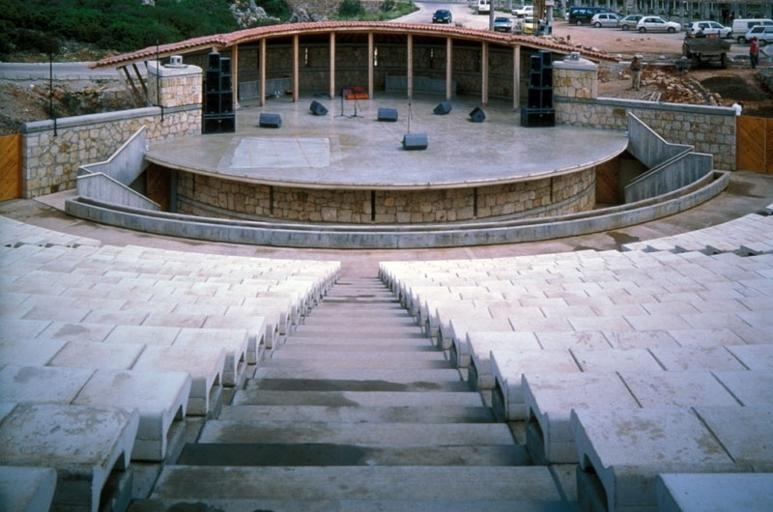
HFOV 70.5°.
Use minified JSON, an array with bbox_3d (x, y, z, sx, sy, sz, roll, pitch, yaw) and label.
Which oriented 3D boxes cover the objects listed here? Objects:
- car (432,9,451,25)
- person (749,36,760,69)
[{"bbox_3d":[5.570,-24.915,56.207,2.083,1.417,3.425,1,21,6],"label":"car"},{"bbox_3d":[23.408,-12.995,34.767,0.547,1.924,1.268,10,20,29],"label":"person"}]
